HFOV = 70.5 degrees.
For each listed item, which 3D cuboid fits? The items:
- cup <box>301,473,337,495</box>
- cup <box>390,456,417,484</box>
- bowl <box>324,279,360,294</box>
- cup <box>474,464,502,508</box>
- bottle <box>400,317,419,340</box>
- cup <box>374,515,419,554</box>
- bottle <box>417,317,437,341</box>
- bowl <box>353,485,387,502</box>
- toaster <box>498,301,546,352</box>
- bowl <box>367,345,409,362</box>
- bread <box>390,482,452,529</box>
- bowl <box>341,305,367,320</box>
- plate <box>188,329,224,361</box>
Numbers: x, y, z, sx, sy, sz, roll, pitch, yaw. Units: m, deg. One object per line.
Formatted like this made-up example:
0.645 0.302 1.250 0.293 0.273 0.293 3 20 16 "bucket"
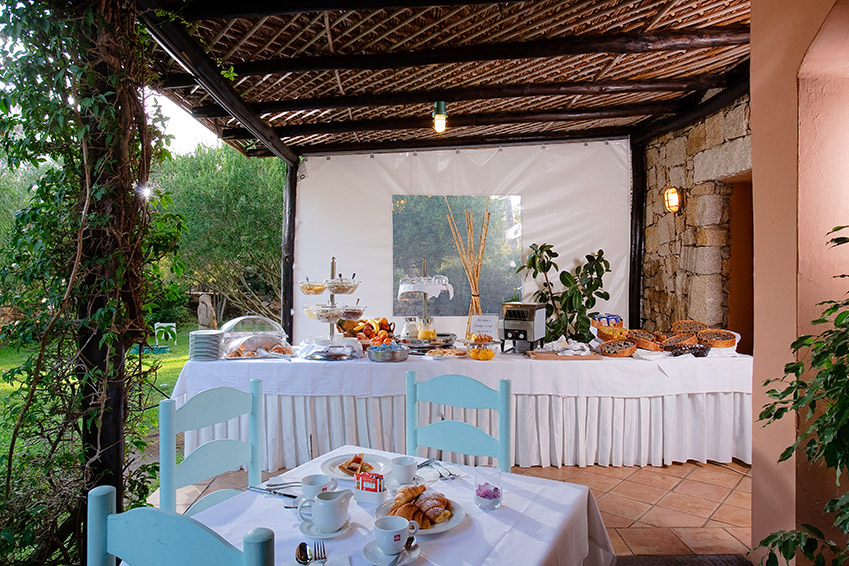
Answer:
-0.429 0.815 2.477 0.081 0.081 0.111 -6 -8 44 "cup"
-0.093 0.800 2.576 0.097 0.076 0.092 -7 -6 -1 "cup"
-0.603 0.020 4.500 0.207 0.109 0.278 -2 -5 15 "bowl"
0.272 0.874 2.526 0.085 0.096 0.088 2 4 0 "cup"
-0.100 0.363 4.722 0.151 0.157 0.162 4 -6 -21 "bottle"
-0.100 0.929 2.231 0.107 0.090 0.135 -9 -15 43 "cup"
0.033 0.370 4.636 0.145 0.145 0.151 1 -10 -1 "bottle"
-0.224 0.865 2.486 0.098 0.039 0.059 2 1 11 "bowl"
0.759 0.310 4.642 0.309 0.369 0.296 5 5 27 "toaster"
-0.252 0.496 4.248 0.285 0.122 0.154 0 -5 -7 "bowl"
-0.010 0.881 2.378 0.260 0.144 0.135 -1 -5 -5 "bread"
-0.556 0.235 4.656 0.126 0.067 0.127 -1 0 0 "bowl"
-1.552 0.441 4.306 0.209 0.184 0.206 -1 3 -45 "plate"
